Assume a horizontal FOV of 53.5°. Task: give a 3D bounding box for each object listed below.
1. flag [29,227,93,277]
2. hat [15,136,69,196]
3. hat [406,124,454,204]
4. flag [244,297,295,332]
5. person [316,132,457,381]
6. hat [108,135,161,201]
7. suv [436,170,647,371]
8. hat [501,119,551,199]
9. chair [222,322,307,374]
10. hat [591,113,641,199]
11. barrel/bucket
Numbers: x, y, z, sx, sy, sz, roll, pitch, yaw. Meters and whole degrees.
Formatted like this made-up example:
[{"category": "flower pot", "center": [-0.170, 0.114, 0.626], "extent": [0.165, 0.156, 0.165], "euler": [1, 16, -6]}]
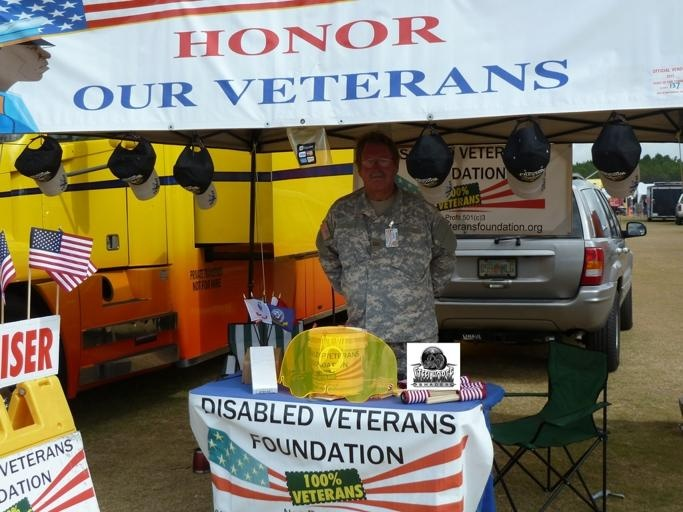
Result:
[{"category": "flag", "center": [-1.639, -0.008, 3.948], "extent": [0.364, 0.254, 0.019], "euler": [10, -16, -29]}, {"category": "hat", "center": [-1.964, -0.568, 4.435], "extent": [0.277, 0.269, 0.212], "euler": [1, 15, -4]}, {"category": "hat", "center": [0.489, -0.500, 3.777], "extent": [0.284, 0.247, 0.431], "euler": [-16, 34, 21]}, {"category": "flag", "center": [-0.470, 0.359, 4.483], "extent": [0.251, 0.117, 0.246], "euler": [20, 0, -31]}, {"category": "person", "center": [0.297, 0.288, 4.587], "extent": [0.902, 2.083, 0.723], "euler": [4, 16, 18]}, {"category": "hat", "center": [-1.340, -0.566, 4.414], "extent": [0.297, 0.196, 0.475], "euler": [-15, 45, -32]}, {"category": "suv", "center": [2.517, 0.075, 8.627], "extent": [2.245, 1.975, 4.394], "euler": [3, 4, 24]}, {"category": "hat", "center": [1.037, -0.488, 3.827], "extent": [0.276, 0.471, 0.247], "euler": [5, 29, 18]}, {"category": "chair", "center": [-0.525, 0.614, 4.616], "extent": [0.346, 0.432, 0.350], "euler": [2, -8, 0]}, {"category": "hat", "center": [1.521, -0.601, 3.793], "extent": [0.352, 0.387, 0.591], "euler": [6, 26, 16]}, {"category": "barrel/bucket", "center": [-0.021, 0.594, 3.799], "extent": [0.328, 0.361, 0.345], "euler": [1, -1, 0]}]
